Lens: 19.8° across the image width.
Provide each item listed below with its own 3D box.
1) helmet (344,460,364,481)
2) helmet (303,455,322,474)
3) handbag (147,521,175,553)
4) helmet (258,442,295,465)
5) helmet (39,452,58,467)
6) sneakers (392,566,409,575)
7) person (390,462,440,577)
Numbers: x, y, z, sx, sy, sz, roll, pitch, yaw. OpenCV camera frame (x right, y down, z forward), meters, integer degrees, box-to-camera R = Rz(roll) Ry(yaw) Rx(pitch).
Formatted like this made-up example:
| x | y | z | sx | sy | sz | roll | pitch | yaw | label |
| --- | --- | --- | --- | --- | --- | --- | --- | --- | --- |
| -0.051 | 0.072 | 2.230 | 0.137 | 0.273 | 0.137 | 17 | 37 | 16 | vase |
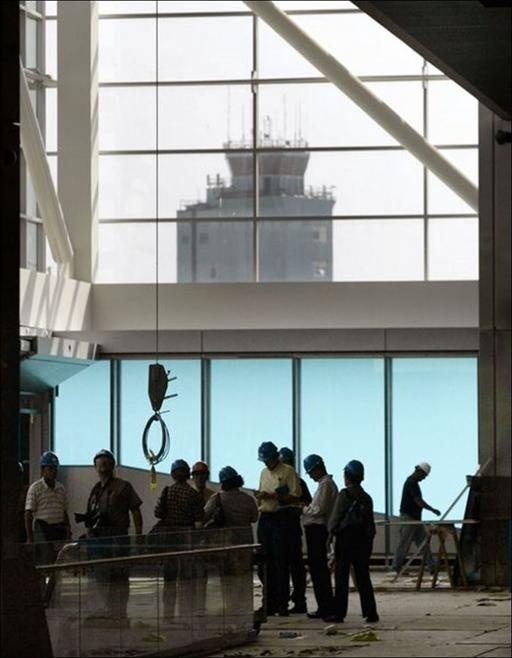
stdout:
| x | y | z | sx | sy | sz | roll | pitch | yaw | label |
| --- | --- | --- | --- | --- | --- | --- | --- | --- | --- |
| 0.788 | 1.143 | 11.720 | 0.112 | 0.121 | 0.186 | 3 | -21 | 4 | helmet |
| 0.494 | 1.178 | 12.785 | 0.125 | 0.095 | 0.163 | -42 | -4 | -32 | helmet |
| -0.637 | 1.402 | 9.810 | 0.137 | 0.213 | 0.158 | 2 | -6 | -22 | handbag |
| 0.149 | 1.025 | 12.605 | 0.203 | 0.209 | 0.310 | -6 | -19 | 36 | helmet |
| -1.801 | 1.159 | 12.839 | 0.140 | 0.155 | 0.205 | 5 | -10 | -29 | helmet |
| 1.376 | 2.279 | 13.725 | 0.196 | 0.092 | 0.144 | 3 | -11 | -24 | sneakers |
| 1.520 | 1.787 | 13.881 | 0.410 | 1.045 | 0.695 | -4 | -9 | 20 | person |
